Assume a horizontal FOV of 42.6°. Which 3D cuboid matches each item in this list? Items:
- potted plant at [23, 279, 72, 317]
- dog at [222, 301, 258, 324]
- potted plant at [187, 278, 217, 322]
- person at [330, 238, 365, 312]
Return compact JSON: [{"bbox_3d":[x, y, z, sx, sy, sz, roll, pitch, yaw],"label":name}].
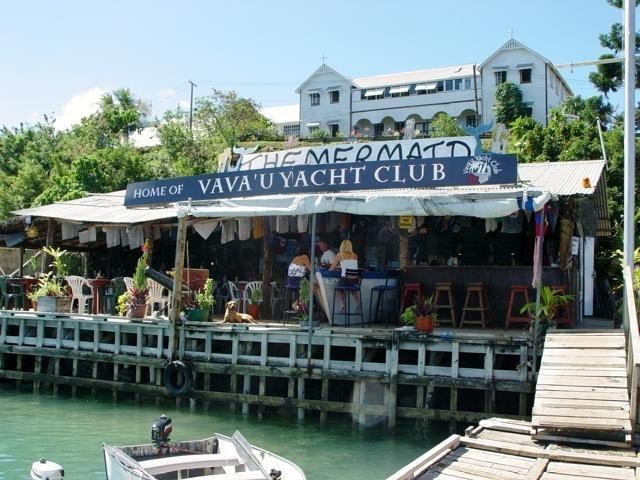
[{"bbox_3d":[-7.440,1.613,22.762,1.067,0.713,1.046,6,-9,-33],"label":"potted plant"},{"bbox_3d":[-2.056,1.935,20.720,0.383,0.513,1.051,-10,-32,31],"label":"dog"},{"bbox_3d":[-2.971,1.546,20.946,0.804,1.235,0.888,-1,-3,1],"label":"potted plant"},{"bbox_3d":[0.620,0.890,20.561,0.671,1.809,0.904,-1,-5,3],"label":"person"}]
